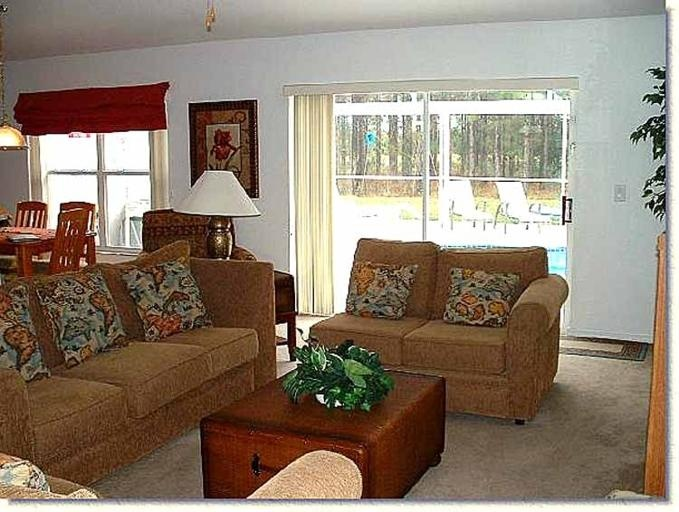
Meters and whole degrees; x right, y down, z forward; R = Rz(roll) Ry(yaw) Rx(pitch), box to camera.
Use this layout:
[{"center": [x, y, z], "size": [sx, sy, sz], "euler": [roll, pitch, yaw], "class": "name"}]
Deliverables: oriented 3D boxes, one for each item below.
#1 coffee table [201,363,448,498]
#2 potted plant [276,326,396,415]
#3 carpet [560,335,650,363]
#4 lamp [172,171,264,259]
[{"center": [-0.084, 0.825, 2.484], "size": [0.647, 0.372, 0.844], "euler": [1, 5, 23], "class": "coffee table"}, {"center": [0.040, 0.563, 2.614], "size": [0.396, 0.165, 0.425], "euler": [-5, 17, -38], "class": "potted plant"}, {"center": [2.477, 0.864, 4.963], "size": [0.744, 0.023, 0.680], "euler": [5, 10, 27], "class": "carpet"}, {"center": [-0.953, -0.304, 4.107], "size": [0.490, 0.702, 0.428], "euler": [8, 12, 41], "class": "lamp"}]
